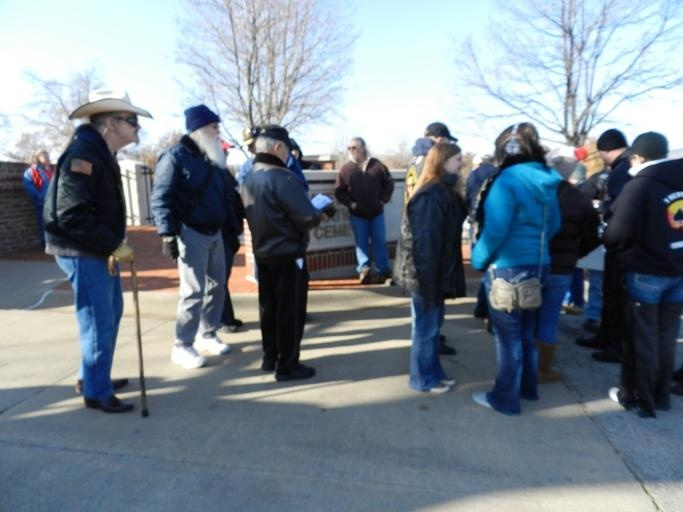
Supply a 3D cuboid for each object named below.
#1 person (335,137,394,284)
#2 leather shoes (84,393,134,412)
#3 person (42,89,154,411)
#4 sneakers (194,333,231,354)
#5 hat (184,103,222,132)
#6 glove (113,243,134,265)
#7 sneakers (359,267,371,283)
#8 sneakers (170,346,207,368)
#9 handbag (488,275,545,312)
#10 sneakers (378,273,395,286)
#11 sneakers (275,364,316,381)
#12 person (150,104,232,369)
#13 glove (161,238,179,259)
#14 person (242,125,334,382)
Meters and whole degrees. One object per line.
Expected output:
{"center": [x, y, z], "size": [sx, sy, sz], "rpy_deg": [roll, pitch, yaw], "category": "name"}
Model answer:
{"center": [0.342, -0.648, 8.581], "size": [0.833, 2.007, 0.849], "rpy_deg": [-4, 11, -6], "category": "person"}
{"center": [-1.954, 1.243, 5.132], "size": [0.390, 0.170, 0.160], "rpy_deg": [3, -1, -7], "category": "leather shoes"}
{"center": [-2.009, -0.026, 5.083], "size": [0.525, 2.640, 0.733], "rpy_deg": [6, 14, 39], "category": "person"}
{"center": [-1.349, 0.904, 6.324], "size": [0.432, 0.224, 0.155], "rpy_deg": [5, 10, 15], "category": "sneakers"}
{"center": [-1.351, -1.335, 5.867], "size": [0.322, 0.254, 0.199], "rpy_deg": [-5, 11, -14], "category": "hat"}
{"center": [-1.897, -0.013, 5.190], "size": [0.120, 0.151, 0.164], "rpy_deg": [26, 44, 20], "category": "glove"}
{"center": [0.327, 0.279, 8.359], "size": [0.107, 0.251, 0.118], "rpy_deg": [4, 44, -8], "category": "sneakers"}
{"center": [-1.500, 0.991, 5.936], "size": [0.387, 0.196, 0.154], "rpy_deg": [6, 10, 24], "category": "sneakers"}
{"center": [1.449, 0.318, 4.998], "size": [0.429, 0.388, 0.271], "rpy_deg": [-1, -10, 2], "category": "handbag"}
{"center": [0.626, 0.344, 8.461], "size": [0.192, 0.113, 0.311], "rpy_deg": [-3, 11, 0], "category": "sneakers"}
{"center": [-0.431, 1.110, 5.677], "size": [0.309, 0.148, 0.159], "rpy_deg": [-5, 6, -18], "category": "sneakers"}
{"center": [-1.464, -0.189, 5.933], "size": [0.488, 2.513, 0.779], "rpy_deg": [2, 11, 21], "category": "person"}
{"center": [-1.593, -0.061, 5.683], "size": [0.096, 0.228, 0.172], "rpy_deg": [8, 15, 44], "category": "glove"}
{"center": [-0.576, -0.022, 5.672], "size": [0.686, 2.357, 0.505], "rpy_deg": [4, 13, 32], "category": "person"}
